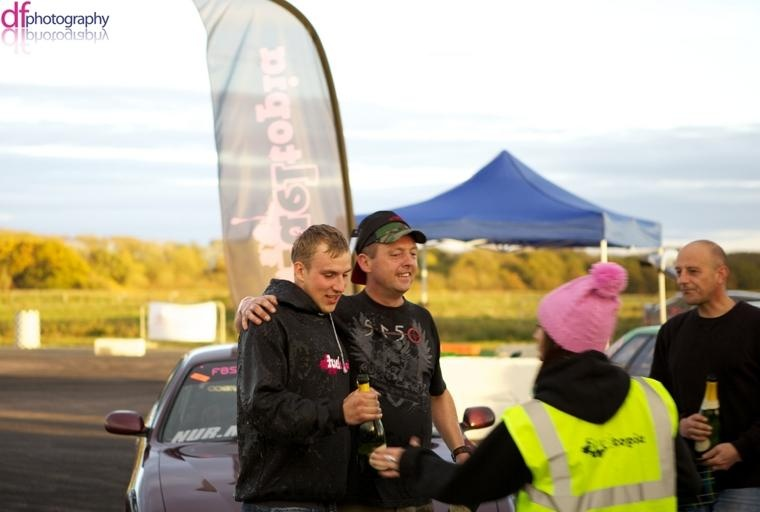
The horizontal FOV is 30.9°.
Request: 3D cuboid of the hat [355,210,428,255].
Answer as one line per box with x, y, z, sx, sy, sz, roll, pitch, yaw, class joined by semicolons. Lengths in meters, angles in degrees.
0.100;-0.205;13.941;0.623;0.300;0.426;-16;-9;30;hat
